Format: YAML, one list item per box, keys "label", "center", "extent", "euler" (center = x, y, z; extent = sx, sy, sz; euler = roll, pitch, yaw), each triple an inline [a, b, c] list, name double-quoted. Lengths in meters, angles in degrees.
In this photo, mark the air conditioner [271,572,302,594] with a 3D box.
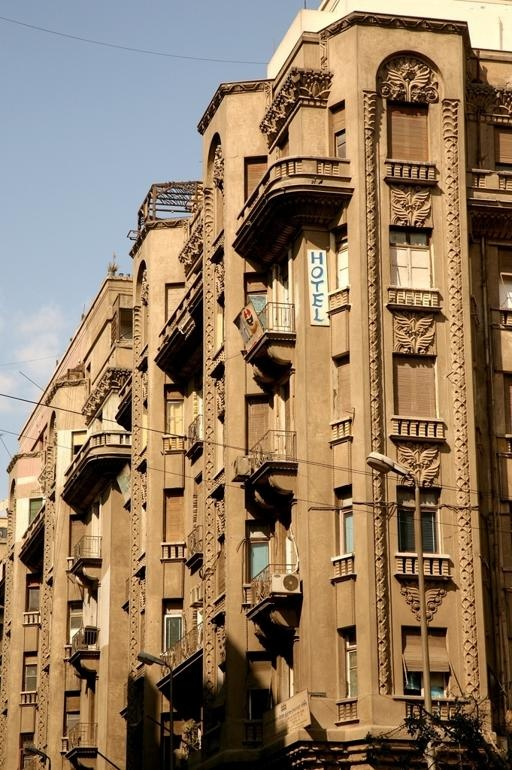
- label: "air conditioner"
  center: [0.792, 5.205, 49.642]
  extent: [0.661, 0.632, 0.452]
  euler: [2, -7, -5]
